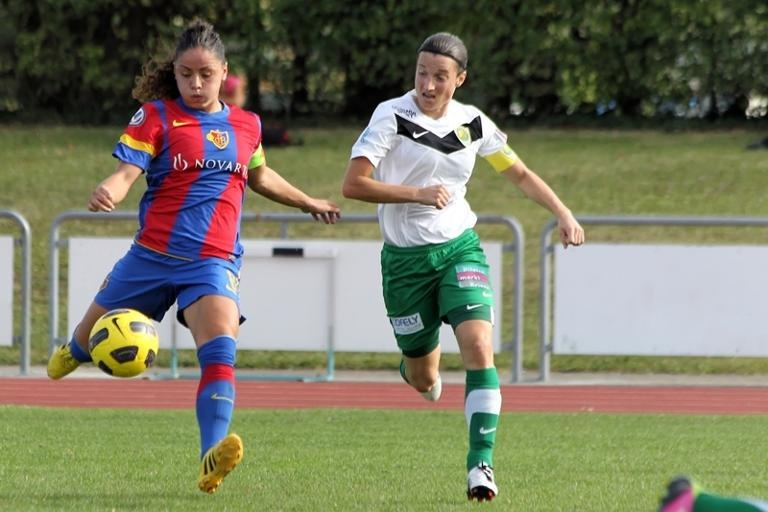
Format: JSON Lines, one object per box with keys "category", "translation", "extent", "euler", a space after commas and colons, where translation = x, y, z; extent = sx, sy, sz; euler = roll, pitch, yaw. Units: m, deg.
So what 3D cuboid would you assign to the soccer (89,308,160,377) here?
{"category": "soccer", "translation": [-2.243, 0.740, 13.784], "extent": [0.623, 0.646, 0.579], "euler": [0, -28, -10]}
